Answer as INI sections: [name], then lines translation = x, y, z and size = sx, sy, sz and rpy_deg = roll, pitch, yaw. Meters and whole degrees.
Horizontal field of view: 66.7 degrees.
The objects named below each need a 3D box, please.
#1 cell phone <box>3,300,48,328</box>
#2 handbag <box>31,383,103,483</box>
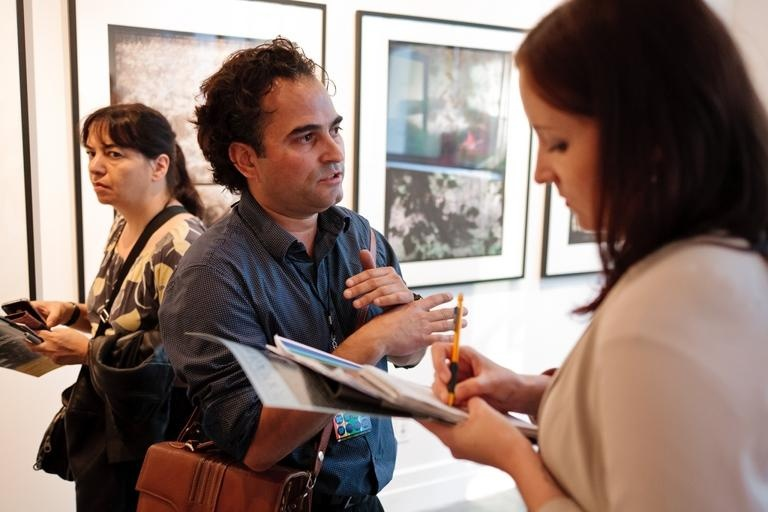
[cell phone]
translation = -1.390, 0.227, 2.292
size = 0.123, 0.034, 0.127
rpy_deg = 20, -18, 29
[handbag]
translation = -1.169, 0.649, 2.190
size = 0.363, 0.444, 0.147
rpy_deg = 6, 6, 43
